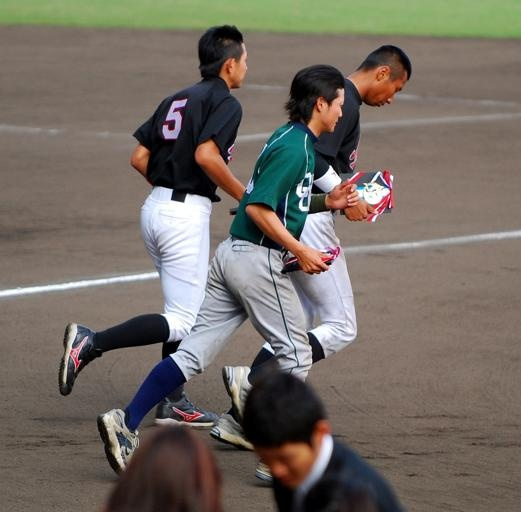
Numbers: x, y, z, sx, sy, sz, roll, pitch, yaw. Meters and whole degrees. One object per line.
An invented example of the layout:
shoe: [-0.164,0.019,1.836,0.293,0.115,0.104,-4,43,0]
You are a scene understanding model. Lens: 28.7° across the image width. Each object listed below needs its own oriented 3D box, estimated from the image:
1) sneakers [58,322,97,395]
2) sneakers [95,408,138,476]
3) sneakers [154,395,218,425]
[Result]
sneakers: [-0.908,0.529,5.124,0.195,0.378,0.137,10,-10,-5]
sneakers: [-0.638,0.852,4.650,0.117,0.330,0.170,18,39,40]
sneakers: [-0.389,0.829,5.439,0.430,0.170,0.144,11,-16,-40]
